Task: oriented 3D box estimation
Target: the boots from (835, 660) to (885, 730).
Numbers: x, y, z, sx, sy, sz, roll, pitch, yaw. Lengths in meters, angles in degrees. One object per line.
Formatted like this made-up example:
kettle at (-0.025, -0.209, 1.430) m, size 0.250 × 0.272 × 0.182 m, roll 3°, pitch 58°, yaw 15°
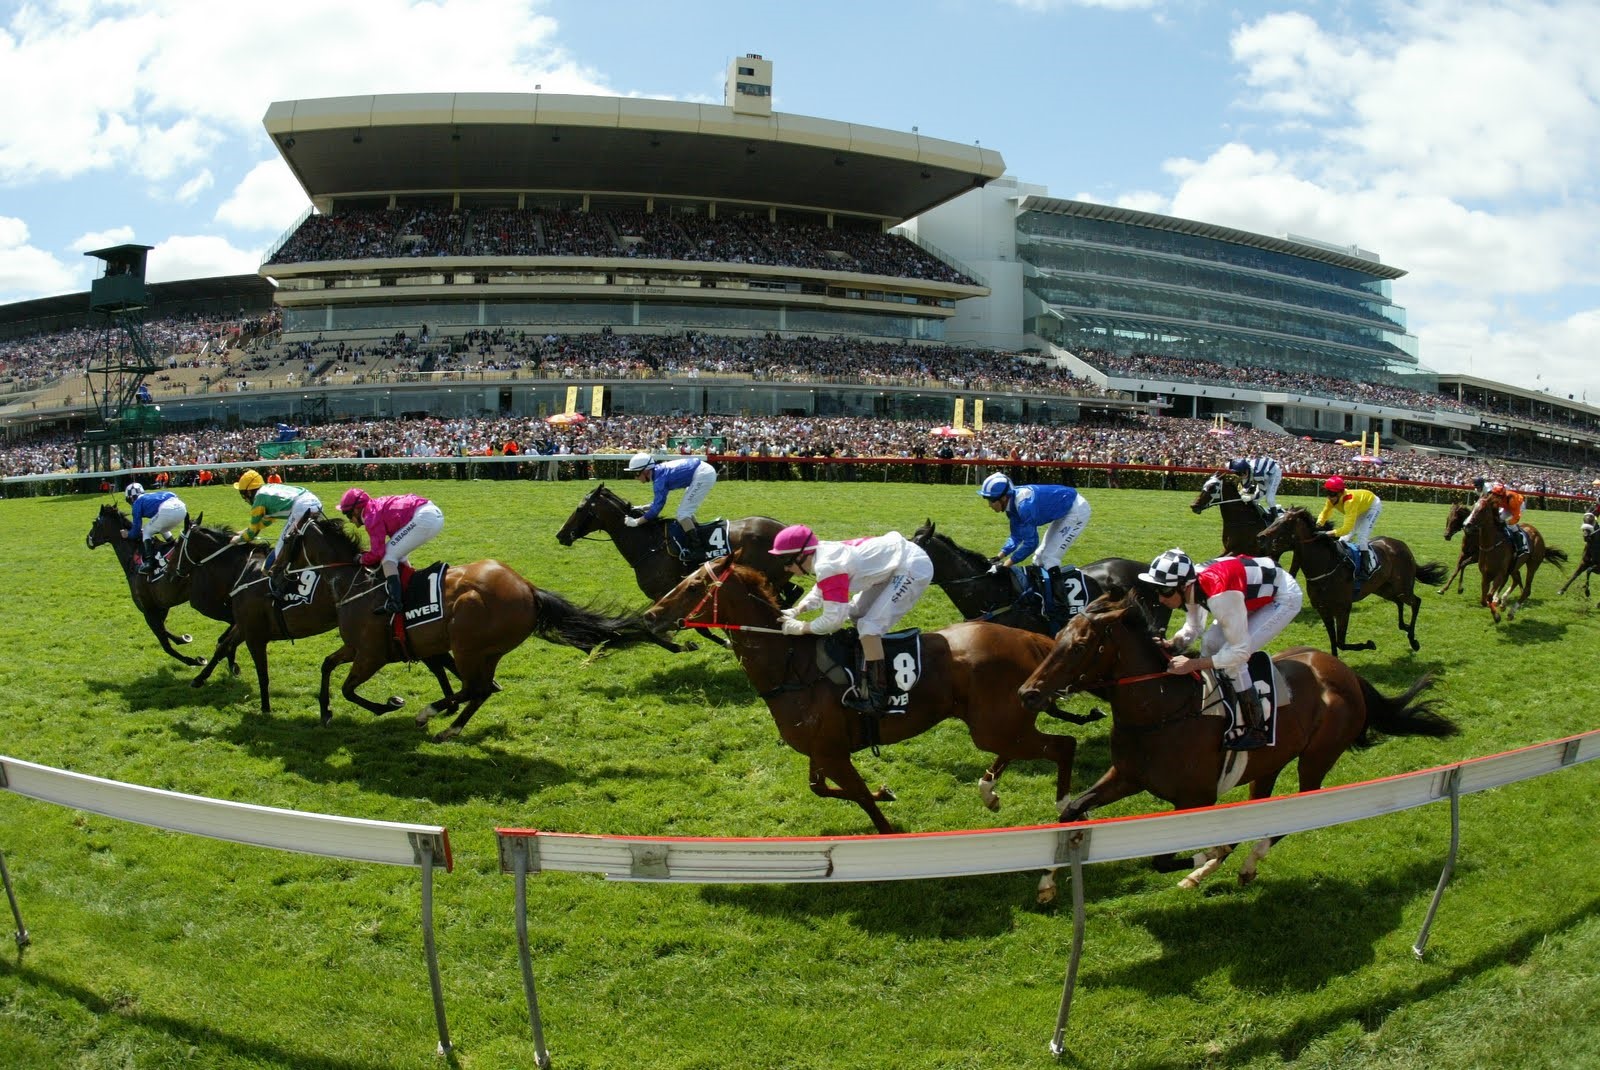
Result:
boots at (0.600, 1.440, 14.144) m, size 0.591 × 0.532 × 0.348 m, roll -2°, pitch 5°, yaw 1°

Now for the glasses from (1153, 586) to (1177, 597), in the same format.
glasses at (3.205, 0.511, 13.823) m, size 0.202 × 0.097 × 0.074 m, roll -1°, pitch -2°, yaw 14°

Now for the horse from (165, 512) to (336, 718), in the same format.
horse at (-5.192, 0.901, 16.426) m, size 3.085 × 1.893 × 0.686 m, roll 2°, pitch 5°, yaw 13°

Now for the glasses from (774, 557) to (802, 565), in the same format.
glasses at (-0.113, 0.250, 14.433) m, size 0.125 × 0.057 × 0.166 m, roll 1°, pitch -2°, yaw -20°

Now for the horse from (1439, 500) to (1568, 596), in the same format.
horse at (9.356, 0.292, 20.588) m, size 2.792 × 1.511 × 0.649 m, roll 4°, pitch -2°, yaw -39°

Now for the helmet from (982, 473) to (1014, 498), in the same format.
helmet at (1.999, -0.512, 16.210) m, size 0.226 × 0.292 × 0.272 m, roll 13°, pitch -9°, yaw 32°

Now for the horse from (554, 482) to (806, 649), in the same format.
horse at (-1.260, 0.333, 18.240) m, size 3.226 × 1.890 × 0.717 m, roll -5°, pitch 9°, yaw -31°

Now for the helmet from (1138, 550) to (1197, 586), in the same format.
helmet at (3.260, 0.309, 13.884) m, size 0.433 × 0.243 × 0.306 m, roll 1°, pitch 12°, yaw -20°

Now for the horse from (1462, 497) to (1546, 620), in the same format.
horse at (9.234, 0.257, 20.554) m, size 0.666 × 1.616 × 2.934 m, roll 2°, pitch 3°, yaw 41°

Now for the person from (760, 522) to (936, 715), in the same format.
person at (0.486, 0.777, 14.271) m, size 1.348 × 1.629 × 0.422 m, roll 0°, pitch -2°, yaw 3°

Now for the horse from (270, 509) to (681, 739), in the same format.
horse at (-3.327, 1.026, 15.928) m, size 3.993 × 2.009 × 0.905 m, roll 3°, pitch -2°, yaw -3°

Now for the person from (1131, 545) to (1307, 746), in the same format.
person at (3.753, 0.996, 14.000) m, size 1.242 × 1.698 × 0.765 m, roll 1°, pitch -3°, yaw -43°

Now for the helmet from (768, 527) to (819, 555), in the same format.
helmet at (-0.069, 0.063, 14.341) m, size 0.368 × 0.177 × 0.244 m, roll -1°, pitch 8°, yaw -9°

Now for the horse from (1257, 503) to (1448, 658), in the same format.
horse at (6.575, 0.598, 18.390) m, size 3.225 × 1.848 × 0.607 m, roll -5°, pitch -1°, yaw -32°

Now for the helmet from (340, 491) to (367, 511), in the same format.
helmet at (-4.559, -0.344, 15.921) m, size 0.275 × 0.142 × 0.194 m, roll 5°, pitch 11°, yaw 12°

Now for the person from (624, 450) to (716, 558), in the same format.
person at (-1.501, -0.486, 18.048) m, size 1.143 × 0.878 × 0.858 m, roll 0°, pitch 13°, yaw -3°
